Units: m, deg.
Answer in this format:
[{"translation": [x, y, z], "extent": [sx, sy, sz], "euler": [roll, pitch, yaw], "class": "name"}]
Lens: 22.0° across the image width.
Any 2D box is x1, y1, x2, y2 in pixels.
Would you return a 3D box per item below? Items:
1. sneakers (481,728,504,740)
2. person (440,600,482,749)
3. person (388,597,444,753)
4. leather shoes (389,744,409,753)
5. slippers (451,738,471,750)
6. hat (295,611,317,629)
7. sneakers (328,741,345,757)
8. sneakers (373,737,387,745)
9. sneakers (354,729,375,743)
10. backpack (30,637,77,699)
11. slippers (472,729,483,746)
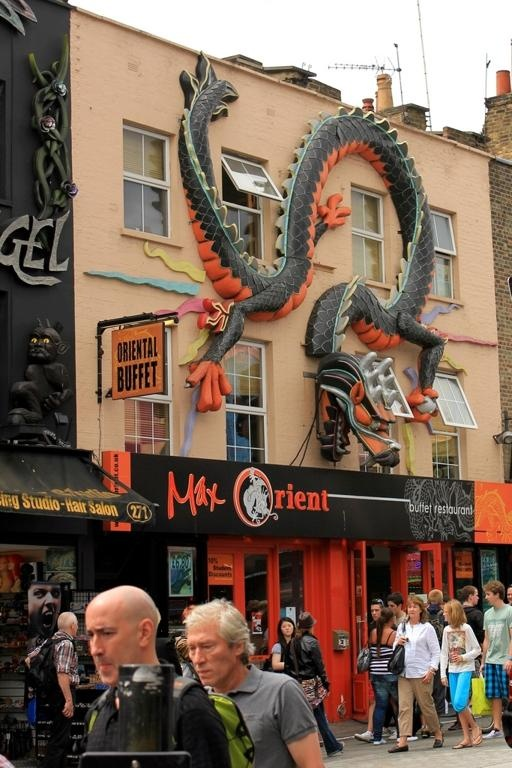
[{"translation": [2.635, 3.870, 14.535], "extent": [0.368, 0.148, 0.119], "euler": [2, -6, -2], "class": "sneakers"}, {"translation": [2.177, 3.071, 14.057], "extent": [0.442, 1.544, 0.782], "euler": [-4, -14, 7], "class": "person"}, {"translation": [1.745, 3.105, 14.241], "extent": [0.501, 1.597, 0.583], "euler": [-4, -14, 7], "class": "person"}, {"translation": [1.477, 3.789, 13.688], "extent": [0.224, 0.083, 0.080], "euler": [-1, -16, -3], "class": "leather shoes"}, {"translation": [2.101, 3.733, 13.581], "extent": [0.241, 0.096, 0.081], "euler": [5, -14, -23], "class": "slippers"}, {"translation": [0.503, 2.449, 13.550], "extent": [0.146, 0.077, 0.191], "euler": [-1, 28, -3], "class": "hat"}, {"translation": [0.830, 3.831, 13.787], "extent": [0.094, 0.090, 0.214], "euler": [2, 13, 31], "class": "sneakers"}, {"translation": [1.391, 4.043, 14.860], "extent": [0.058, 0.067, 0.164], "euler": [7, 4, 36], "class": "sneakers"}, {"translation": [1.270, 4.079, 15.231], "extent": [0.267, 0.108, 0.101], "euler": [9, -19, -19], "class": "sneakers"}, {"translation": [-2.004, 2.702, 12.712], "extent": [0.374, 0.550, 0.633], "euler": [8, -6, -38], "class": "backpack"}, {"translation": [2.316, 3.719, 13.854], "extent": [0.072, 0.193, 0.054], "euler": [-25, -60, 39], "class": "slippers"}]
